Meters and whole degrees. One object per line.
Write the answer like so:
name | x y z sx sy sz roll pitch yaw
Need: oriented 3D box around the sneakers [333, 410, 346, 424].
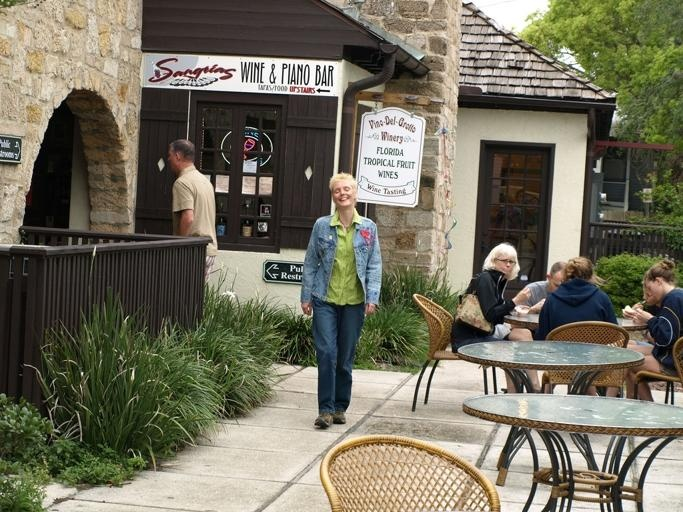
sneakers | -0.020 1.416 6.562 0.055 0.079 0.173 1 4 6

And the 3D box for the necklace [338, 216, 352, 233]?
necklace | 0.033 -0.290 6.463 0.089 0.121 0.122 1 -15 -4

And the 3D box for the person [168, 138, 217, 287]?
person | -1.708 -0.541 8.397 0.535 1.556 0.758 1 8 -12

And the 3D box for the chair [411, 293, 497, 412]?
chair | 1.115 0.926 7.617 0.991 1.546 0.975 -2 -1 12

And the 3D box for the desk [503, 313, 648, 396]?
desk | 2.045 0.857 7.199 0.977 0.874 1.100 0 6 -5

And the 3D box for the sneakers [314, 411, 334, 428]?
sneakers | -0.154 1.408 6.375 0.167 0.128 0.134 1 8 -8

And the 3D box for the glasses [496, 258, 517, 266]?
glasses | 1.541 0.033 6.817 0.212 0.053 0.068 0 8 -17

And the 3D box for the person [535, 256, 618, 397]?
person | 1.958 0.577 6.729 0.929 1.555 0.930 1 2 6

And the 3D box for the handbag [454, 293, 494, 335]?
handbag | 1.242 0.531 6.809 0.267 0.279 0.109 22 -1 -13

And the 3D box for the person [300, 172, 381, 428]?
person | -0.005 0.373 6.477 0.688 2.171 0.485 1 7 -8

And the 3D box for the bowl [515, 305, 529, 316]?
bowl | 1.888 0.553 7.685 0.138 0.077 0.194 1 -1 6

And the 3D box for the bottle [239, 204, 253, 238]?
bottle | -1.283 -0.502 9.940 0.159 0.428 0.098 1 7 -6
